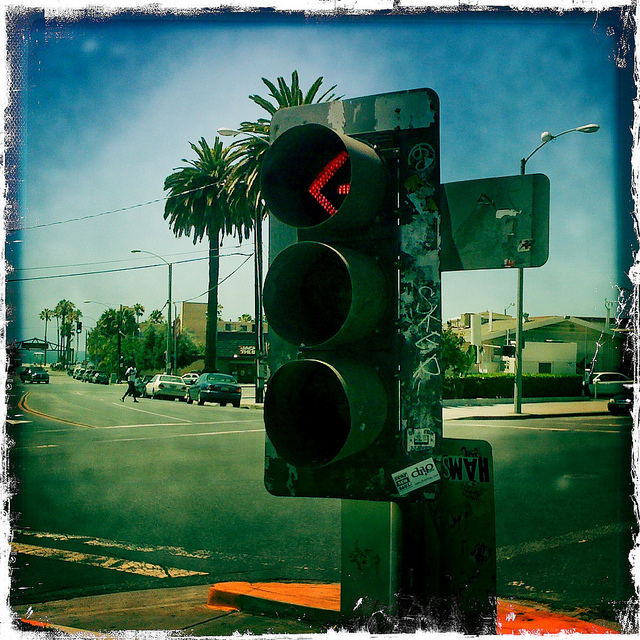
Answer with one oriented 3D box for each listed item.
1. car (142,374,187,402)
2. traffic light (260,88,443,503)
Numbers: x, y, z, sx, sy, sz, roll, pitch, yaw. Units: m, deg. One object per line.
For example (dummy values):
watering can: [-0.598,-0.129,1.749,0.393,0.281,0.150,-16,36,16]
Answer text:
car: [-5.808,2.524,32.982,1.147,0.927,2.586,1,-2,-29]
traffic light: [0.129,-0.114,3.894,0.838,1.852,0.572,0,-1,8]
